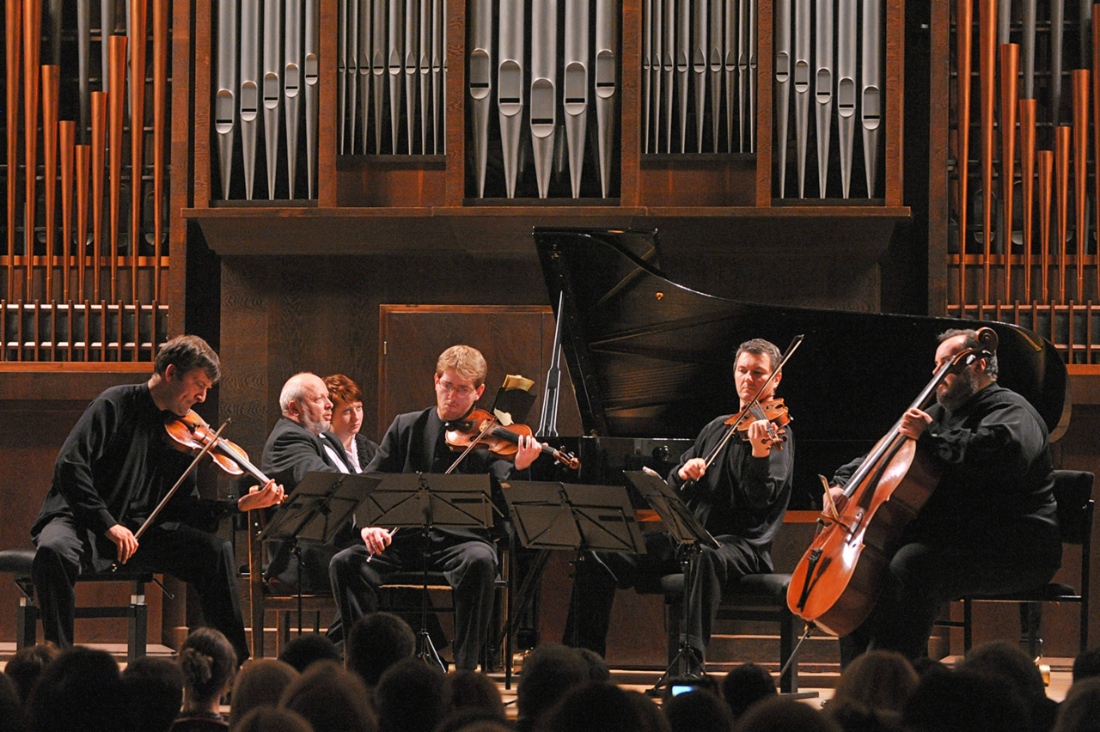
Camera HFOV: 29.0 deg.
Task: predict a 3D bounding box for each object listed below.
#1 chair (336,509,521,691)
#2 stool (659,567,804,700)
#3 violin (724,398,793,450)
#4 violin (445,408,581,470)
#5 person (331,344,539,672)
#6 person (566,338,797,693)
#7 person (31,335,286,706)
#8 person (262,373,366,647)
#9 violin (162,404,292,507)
[{"bbox_3d":[-0.819,1.513,13.708,1.071,1.190,1.016,-4,-30,11],"label":"chair"},{"bbox_3d":[1.172,1.667,13.676,0.868,0.832,0.708,-1,1,-4],"label":"stool"},{"bbox_3d":[1.344,0.360,13.749,0.409,0.308,0.418,-1,-5,4],"label":"violin"},{"bbox_3d":[-0.258,0.477,13.948,0.864,0.193,0.375,14,20,28],"label":"violin"},{"bbox_3d":[-0.730,0.890,14.002,1.514,2.040,1.120,-1,4,-2],"label":"person"},{"bbox_3d":[0.939,0.905,13.698,1.281,2.111,1.396,0,3,-9],"label":"person"},{"bbox_3d":[-2.630,0.857,13.711,1.608,2.488,1.152,1,-2,-17],"label":"person"},{"bbox_3d":[-1.647,0.934,13.997,0.712,1.650,0.681,3,7,5],"label":"person"},{"bbox_3d":[-1.956,0.520,13.873,1.127,0.235,0.399,33,13,0],"label":"violin"}]
